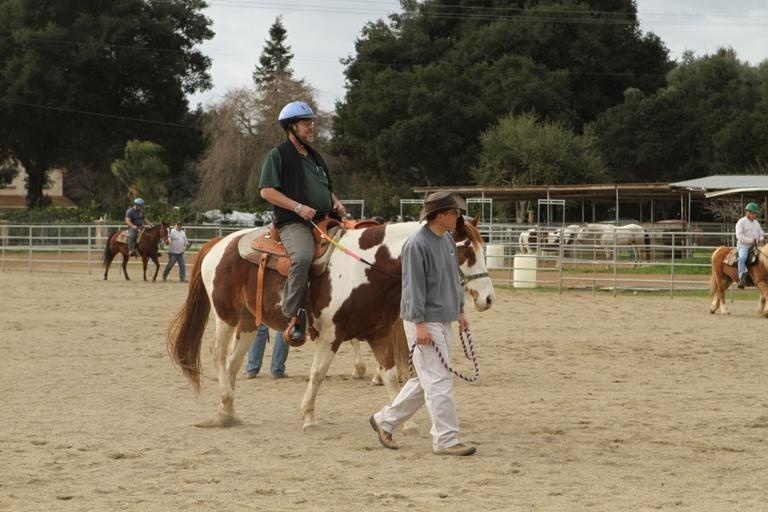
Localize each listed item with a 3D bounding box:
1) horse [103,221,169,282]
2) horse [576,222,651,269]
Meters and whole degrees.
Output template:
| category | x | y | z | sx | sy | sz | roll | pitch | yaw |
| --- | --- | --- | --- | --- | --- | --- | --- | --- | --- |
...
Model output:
| category | x | y | z | sx | sy | sz | roll | pitch | yaw |
| --- | --- | --- | --- | --- | --- | --- | --- | --- | --- |
| horse | -13.431 | -0.181 | 80.198 | 4.779 | 3.336 | 1.441 | 0 | 1 | 31 |
| horse | 13.477 | -0.696 | 84.892 | 5.213 | 2.644 | 1.118 | -2 | -16 | -21 |
